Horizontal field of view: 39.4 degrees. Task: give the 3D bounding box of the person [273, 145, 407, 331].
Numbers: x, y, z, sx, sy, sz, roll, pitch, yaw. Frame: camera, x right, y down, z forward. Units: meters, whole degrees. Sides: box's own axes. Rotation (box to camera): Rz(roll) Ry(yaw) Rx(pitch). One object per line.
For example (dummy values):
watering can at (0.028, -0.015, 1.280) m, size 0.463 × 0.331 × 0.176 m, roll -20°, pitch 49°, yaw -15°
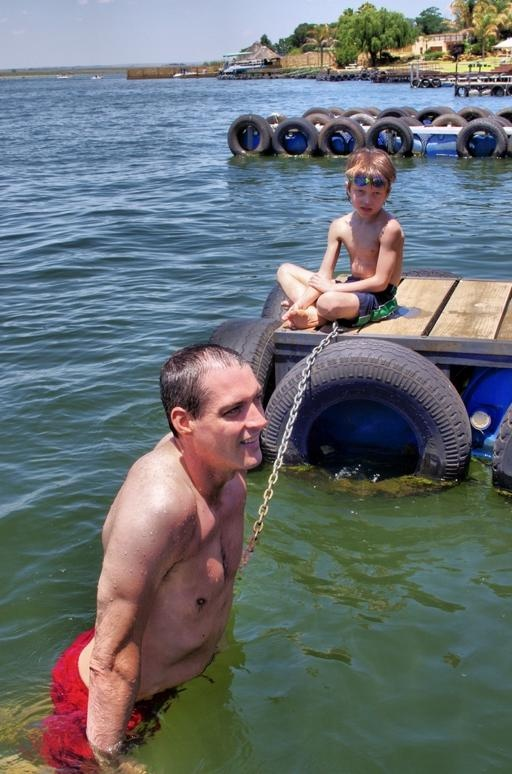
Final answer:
person at (0.591, -1.003, 4.920) m, size 0.969 × 1.151 × 0.852 m, roll -12°, pitch 28°, yaw -20°
